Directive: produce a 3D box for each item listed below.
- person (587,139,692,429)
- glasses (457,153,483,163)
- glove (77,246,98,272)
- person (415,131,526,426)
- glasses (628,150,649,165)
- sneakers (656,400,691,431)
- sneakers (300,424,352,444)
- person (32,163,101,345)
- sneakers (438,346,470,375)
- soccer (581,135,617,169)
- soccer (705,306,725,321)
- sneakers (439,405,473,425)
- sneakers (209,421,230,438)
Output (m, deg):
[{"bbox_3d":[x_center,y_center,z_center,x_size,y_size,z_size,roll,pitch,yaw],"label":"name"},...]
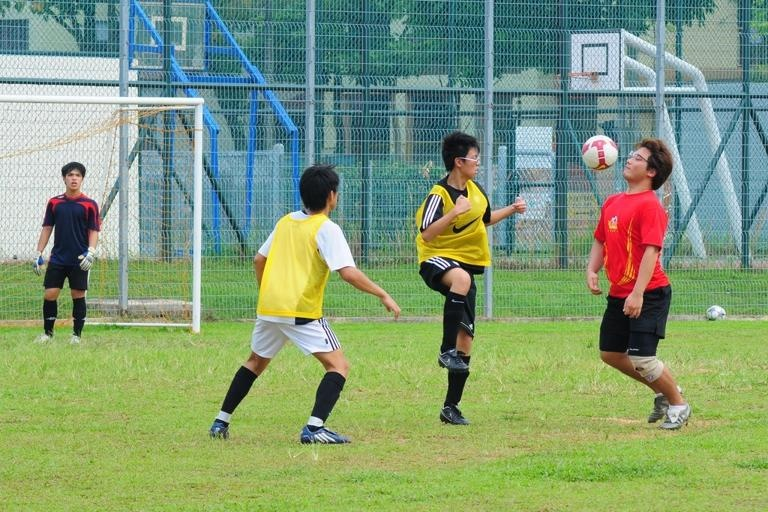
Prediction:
[{"bbox_3d":[2.547,0.247,11.943,0.665,2.857,0.949,-2,5,-34],"label":"person"},{"bbox_3d":[0.840,-1.007,12.136,0.201,0.061,0.198,3,1,31],"label":"glasses"},{"bbox_3d":[-3.913,0.023,15.594,0.243,0.304,0.120,-4,5,-18],"label":"glove"},{"bbox_3d":[0.719,0.197,12.109,0.754,2.945,0.658,0,4,-6],"label":"person"},{"bbox_3d":[2.551,-1.001,11.898,0.140,0.042,0.133,15,-1,-7],"label":"glasses"},{"bbox_3d":[2.865,1.591,11.780,0.175,0.152,0.368,-4,29,48],"label":"sneakers"},{"bbox_3d":[-0.563,1.711,11.386,0.518,0.185,0.179,3,0,-9],"label":"sneakers"},{"bbox_3d":[-4.202,-0.081,15.635,0.821,2.336,0.502,2,4,17],"label":"person"},{"bbox_3d":[0.730,1.052,12.008,0.160,0.192,0.386,-8,10,-42],"label":"sneakers"},{"bbox_3d":[2.469,-1.201,13.673,0.388,0.381,0.381,3,-12,3],"label":"soccer"},{"bbox_3d":[5.015,0.848,18.098,0.228,0.234,0.232,21,-20,-15],"label":"soccer"},{"bbox_3d":[0.733,1.612,11.994,0.343,0.177,0.130,7,-2,-10],"label":"sneakers"},{"bbox_3d":[-1.599,1.671,11.505,0.114,0.135,0.212,2,1,11],"label":"sneakers"}]
